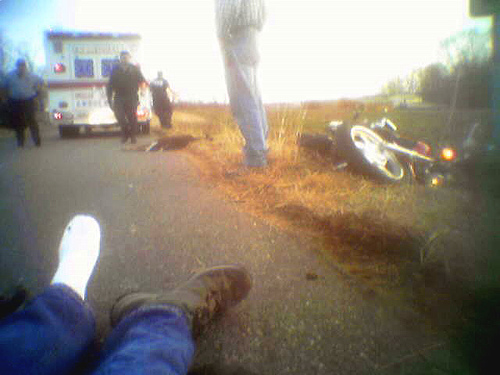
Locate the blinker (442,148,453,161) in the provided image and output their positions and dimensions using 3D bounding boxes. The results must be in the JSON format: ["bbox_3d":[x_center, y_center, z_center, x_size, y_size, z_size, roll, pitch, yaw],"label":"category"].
[{"bbox_3d":[1.360,-0.225,2.703,0.065,0.079,0.037,-29,-8,28],"label":"blinker"}]

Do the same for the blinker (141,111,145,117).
[{"bbox_3d":[-0.717,-0.492,2.616,0.017,0.034,0.006,3,-2,-3],"label":"blinker"}]

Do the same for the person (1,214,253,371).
[{"bbox_3d":[-0.716,0.643,2.179,1.300,0.773,0.723,-4,16,8],"label":"person"}]

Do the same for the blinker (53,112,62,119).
[{"bbox_3d":[-1.257,-0.468,2.561,0.028,0.039,0.008,2,8,-15],"label":"blinker"}]

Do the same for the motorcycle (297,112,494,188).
[{"bbox_3d":[1.014,-0.248,2.765,1.240,0.494,0.296,-4,14,8],"label":"motorcycle"}]

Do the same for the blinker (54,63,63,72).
[{"bbox_3d":[-1.185,-0.740,2.426,0.038,0.055,0.011,2,2,-20],"label":"blinker"}]

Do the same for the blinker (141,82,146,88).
[{"bbox_3d":[-0.681,-0.652,2.504,0.019,0.033,0.007,15,10,13],"label":"blinker"}]

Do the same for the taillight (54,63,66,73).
[{"bbox_3d":[-1.177,-0.732,2.426,0.045,0.061,0.013,3,0,-5],"label":"taillight"}]

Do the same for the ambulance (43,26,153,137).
[{"bbox_3d":[-0.986,-0.659,2.452,0.606,0.877,0.491,-1,8,-5],"label":"ambulance"}]
